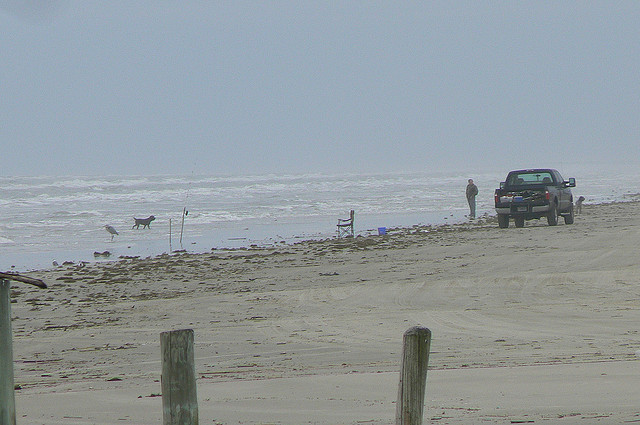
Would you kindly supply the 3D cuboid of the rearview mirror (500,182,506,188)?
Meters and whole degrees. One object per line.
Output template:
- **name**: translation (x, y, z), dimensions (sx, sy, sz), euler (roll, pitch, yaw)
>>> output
- **rearview mirror**: translation (7.250, -1.002, 62.199), dimensions (0.338, 0.259, 0.079), euler (-2, -3, -27)

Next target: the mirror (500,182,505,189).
- **mirror**: translation (7.260, -0.991, 62.235), dimensions (0.347, 0.258, 0.083), euler (-3, 1, -16)

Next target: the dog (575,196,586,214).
- **dog**: translation (11.866, -0.297, 71.530), dimensions (0.426, 0.329, 1.424), euler (3, 25, 21)

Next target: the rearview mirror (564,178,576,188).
- **rearview mirror**: translation (9.841, -1.088, 61.291), dimensions (0.405, 0.227, 0.372), euler (-1, 3, 1)

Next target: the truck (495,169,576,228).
- **truck**: translation (8.528, -0.551, 61.551), dimensions (3.137, 1.650, 4.718), euler (-1, 5, 20)
